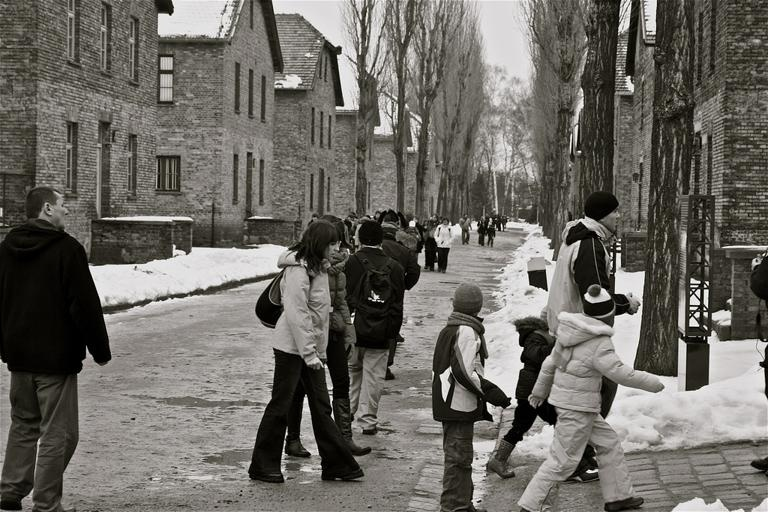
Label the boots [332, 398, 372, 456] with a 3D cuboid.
[{"bbox_3d":[-0.425,2.142,11.886,0.503,0.671,0.204,8,-27,-43],"label":"boots"}]

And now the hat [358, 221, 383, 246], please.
[{"bbox_3d":[-0.181,-0.308,12.922,0.255,0.183,0.354,5,18,-6],"label":"hat"}]

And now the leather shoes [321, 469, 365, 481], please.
[{"bbox_3d":[-0.485,2.480,10.994,0.430,0.192,0.173,1,-1,3],"label":"leather shoes"}]

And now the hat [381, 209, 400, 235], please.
[{"bbox_3d":[0.111,-0.572,16.907,0.374,0.470,0.519,3,6,3],"label":"hat"}]

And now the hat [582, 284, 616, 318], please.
[{"bbox_3d":[2.292,0.467,10.091,0.283,0.300,0.371,3,14,22],"label":"hat"}]

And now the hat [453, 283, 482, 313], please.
[{"bbox_3d":[0.919,0.462,10.426,0.273,0.302,0.345,5,9,3],"label":"hat"}]
